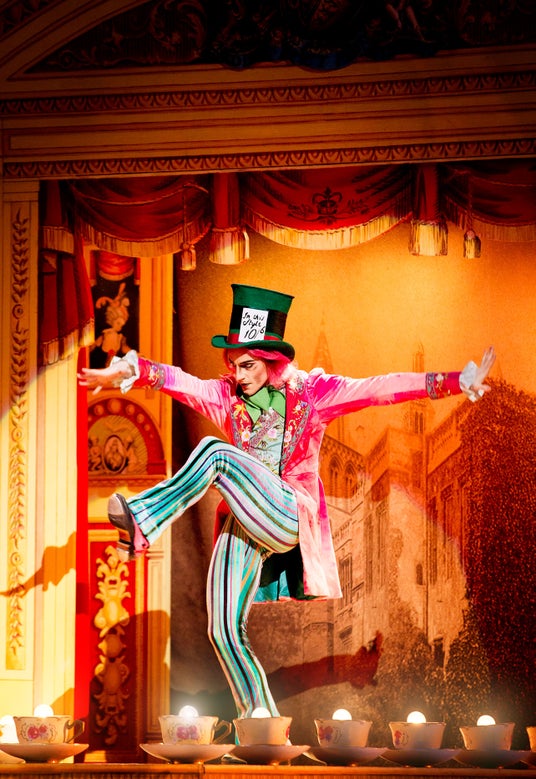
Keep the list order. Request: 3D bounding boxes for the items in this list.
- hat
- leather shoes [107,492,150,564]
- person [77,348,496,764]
[{"bbox_3d":[-0.035,-0.206,4.303,0.298,0.236,0.312,16,-10,-41],"label":"hat"},{"bbox_3d":[-0.461,0.421,3.812,0.095,0.226,0.114,-9,6,30],"label":"leather shoes"},{"bbox_3d":[0.014,0.419,4.195,1.614,1.215,0.565,0,-9,22],"label":"person"}]
